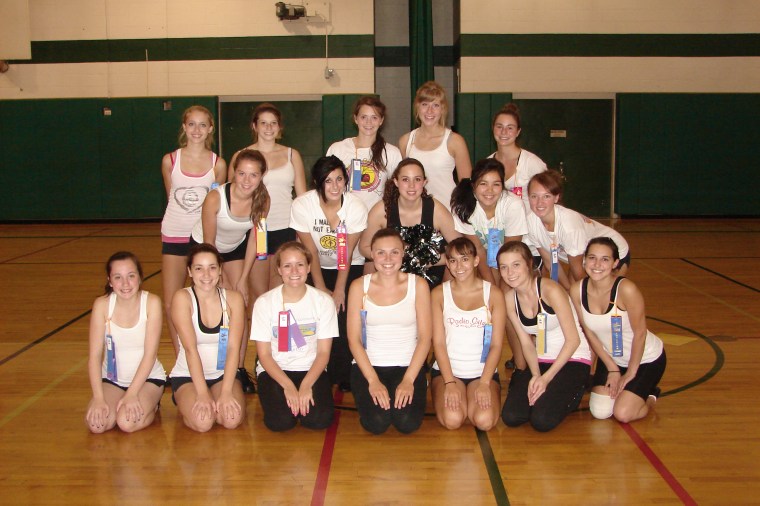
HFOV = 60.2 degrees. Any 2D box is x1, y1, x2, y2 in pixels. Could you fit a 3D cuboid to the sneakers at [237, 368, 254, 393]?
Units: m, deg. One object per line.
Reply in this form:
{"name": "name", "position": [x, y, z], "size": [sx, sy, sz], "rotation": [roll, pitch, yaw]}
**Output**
{"name": "sneakers", "position": [-1.242, 1.144, 6.102], "size": [0.129, 0.241, 0.308], "rotation": [-4, 12, -13]}

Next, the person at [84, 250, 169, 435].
{"name": "person", "position": [-2.128, 0.738, 5.458], "size": [0.583, 1.434, 0.473], "rotation": [-1, 11, 0]}
